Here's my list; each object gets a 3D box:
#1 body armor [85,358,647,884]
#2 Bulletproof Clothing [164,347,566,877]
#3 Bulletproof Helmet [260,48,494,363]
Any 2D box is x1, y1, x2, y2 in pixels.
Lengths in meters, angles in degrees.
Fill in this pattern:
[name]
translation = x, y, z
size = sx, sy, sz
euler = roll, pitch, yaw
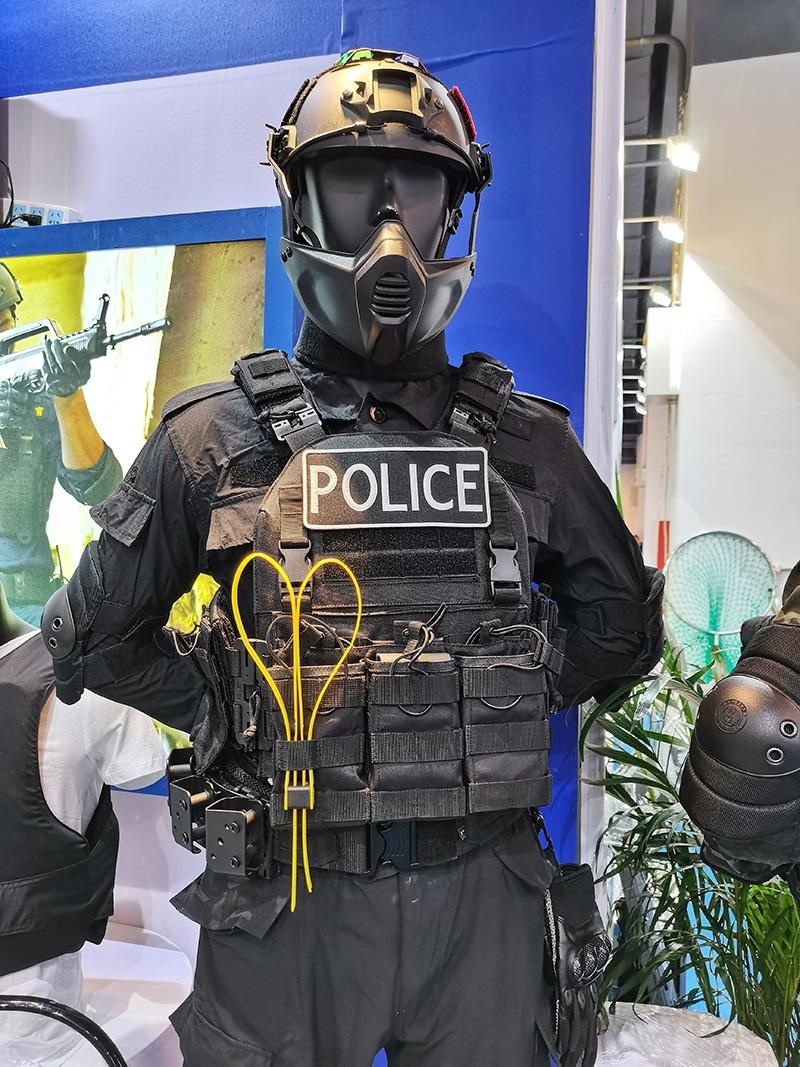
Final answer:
[body armor]
translation = -0.020, 0.104, 1.188
size = 0.757, 0.685, 0.390
euler = 3, -9, -12
[Bulletproof Clothing]
translation = 0.025, 0.081, 1.139
size = 0.460, 0.578, 0.305
euler = -1, 4, 14
[Bulletproof Helmet]
translation = -0.033, -0.401, 1.217
size = 0.257, 0.427, 0.271
euler = 7, -10, -33
